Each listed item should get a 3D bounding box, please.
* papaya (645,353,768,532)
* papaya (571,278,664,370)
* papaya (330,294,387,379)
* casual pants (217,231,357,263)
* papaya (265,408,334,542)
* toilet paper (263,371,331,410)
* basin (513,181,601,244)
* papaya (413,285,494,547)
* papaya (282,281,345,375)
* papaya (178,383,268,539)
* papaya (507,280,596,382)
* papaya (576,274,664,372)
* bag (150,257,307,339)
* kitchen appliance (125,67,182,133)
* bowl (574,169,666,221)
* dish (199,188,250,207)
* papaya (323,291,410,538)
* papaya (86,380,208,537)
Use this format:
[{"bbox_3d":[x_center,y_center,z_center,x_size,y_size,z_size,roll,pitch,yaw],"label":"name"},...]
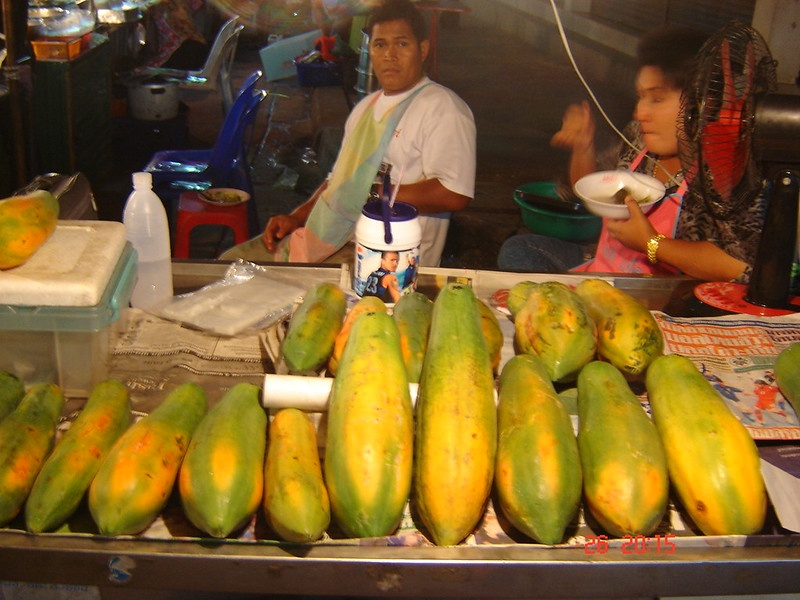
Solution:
[{"bbox_3d":[0.554,0.266,1.228,0.136,0.125,0.331,-9,41,1],"label":"papaya"},{"bbox_3d":[0.539,0.055,1.544,0.164,0.135,0.300,-12,40,2],"label":"papaya"},{"bbox_3d":[-0.099,0.062,1.434,0.085,0.095,0.210,32,54,-11],"label":"papaya"},{"bbox_3d":[-0.578,-0.312,3.198,0.558,0.122,0.290,3,33,2],"label":"casual pants"},{"bbox_3d":[-0.198,0.310,1.126,0.089,0.069,0.229,25,22,-37],"label":"papaya"},{"bbox_3d":[-0.209,0.180,1.275,0.157,0.066,0.067,4,-4,-8],"label":"toilet paper"},{"bbox_3d":[1.121,-0.651,4.695,0.697,0.259,0.687,3,34,-2],"label":"basin"},{"bbox_3d":[0.107,0.212,1.215,0.131,0.144,0.435,15,45,-7],"label":"papaya"},{"bbox_3d":[-0.187,0.062,1.448,0.091,0.079,0.245,24,26,-4],"label":"papaya"},{"bbox_3d":[-0.327,0.285,1.178,0.147,0.116,0.307,12,39,-16],"label":"papaya"},{"bbox_3d":[0.358,0.061,1.544,0.216,0.175,0.380,-2,22,11],"label":"papaya"},{"bbox_3d":[0.523,0.057,1.522,0.137,0.114,0.252,-22,24,2],"label":"papaya"},{"bbox_3d":[-0.418,-0.004,1.809,0.417,0.096,0.395,10,20,23],"label":"bag"},{"bbox_3d":[-2.600,-2.194,6.866,0.609,0.416,0.573,4,31,3],"label":"kitchen appliance"},{"bbox_3d":[0.945,-0.470,2.673,0.309,0.075,0.296,-3,37,2],"label":"bowl"},{"bbox_3d":[-1.192,-0.701,4.271,0.329,0.064,0.360,-2,19,-11],"label":"dish"},{"bbox_3d":[-0.026,0.227,1.171,0.129,0.137,0.387,-12,39,12],"label":"papaya"},{"bbox_3d":[-0.444,0.286,1.165,0.092,0.099,0.275,31,29,-5],"label":"papaya"}]
